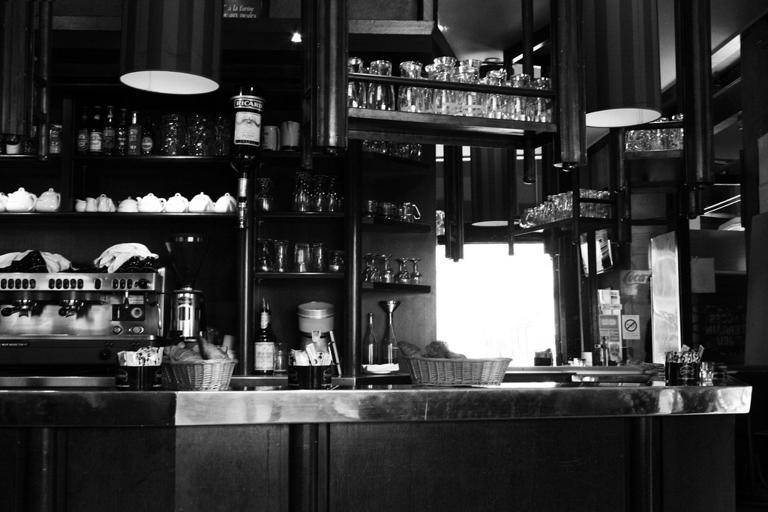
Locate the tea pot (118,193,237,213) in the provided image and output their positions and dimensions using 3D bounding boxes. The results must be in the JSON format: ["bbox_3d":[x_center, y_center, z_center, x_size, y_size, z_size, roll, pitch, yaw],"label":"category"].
[{"bbox_3d":[-1.433,-0.358,7.375,0.827,0.148,0.150,-1,-3,-2],"label":"tea pot"}]

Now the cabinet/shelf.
[{"bbox_3d":[-1.225,-0.336,6.729,3.080,2.230,2.435,-1,-3,2],"label":"cabinet/shelf"}]

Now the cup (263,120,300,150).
[{"bbox_3d":[-0.708,-0.832,7.338,0.248,0.200,0.171,-4,-5,45],"label":"cup"}]

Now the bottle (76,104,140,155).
[{"bbox_3d":[-1.920,-0.864,7.367,0.378,0.330,0.124,1,-11,-9],"label":"bottle"}]

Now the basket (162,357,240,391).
[{"bbox_3d":[-0.959,0.601,5.438,0.222,0.078,0.208,-14,-20,32],"label":"basket"}]

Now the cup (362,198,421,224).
[{"bbox_3d":[0.036,-0.321,7.620,0.325,0.127,0.171,2,-6,-14],"label":"cup"}]

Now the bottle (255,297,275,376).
[{"bbox_3d":[-0.825,0.543,7.321,0.148,0.496,0.422,-1,-4,-7],"label":"bottle"}]

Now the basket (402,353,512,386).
[{"bbox_3d":[0.387,0.595,5.635,0.542,0.152,0.124,-1,-4,6],"label":"basket"}]
